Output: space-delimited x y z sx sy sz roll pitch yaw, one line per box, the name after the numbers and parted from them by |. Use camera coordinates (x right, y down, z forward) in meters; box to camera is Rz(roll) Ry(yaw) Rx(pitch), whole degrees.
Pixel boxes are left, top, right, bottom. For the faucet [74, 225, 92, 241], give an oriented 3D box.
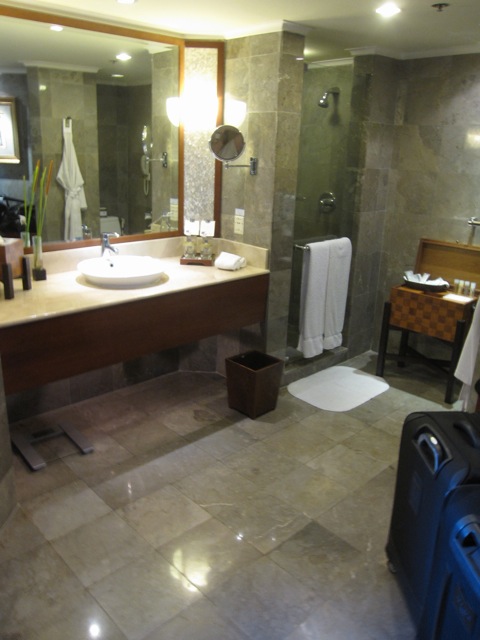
-0.861 -0.475 2.525 0.044 0.099 0.085 2 11 -1 | faucet

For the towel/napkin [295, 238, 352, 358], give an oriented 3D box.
0.569 -0.155 3.200 0.505 0.806 0.145 -9 15 -42 | towel/napkin

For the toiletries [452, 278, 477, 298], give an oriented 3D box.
1.449 -0.201 2.972 0.086 0.101 0.051 21 36 27 | toiletries

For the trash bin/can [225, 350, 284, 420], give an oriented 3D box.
0.077 0.332 2.759 0.334 0.443 0.316 17 23 41 | trash bin/can

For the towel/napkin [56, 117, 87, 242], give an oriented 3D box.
-0.880 -0.723 2.416 0.152 0.613 0.070 -6 13 -32 | towel/napkin

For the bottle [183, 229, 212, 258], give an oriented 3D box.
-0.261 -0.484 2.858 0.155 0.120 0.158 1 12 0 | bottle

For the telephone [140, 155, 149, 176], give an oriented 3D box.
-0.553 -0.906 2.693 0.018 0.093 0.081 5 22 30 | telephone

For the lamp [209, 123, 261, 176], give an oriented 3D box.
-0.030 -0.987 2.723 0.280 0.264 0.211 2 12 0 | lamp

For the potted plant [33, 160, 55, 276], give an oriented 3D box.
-0.985 -0.492 2.296 0.115 0.577 0.175 -3 12 -19 | potted plant

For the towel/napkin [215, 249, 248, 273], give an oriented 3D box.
-0.052 -0.344 2.749 0.200 0.093 0.180 1 13 -5 | towel/napkin
